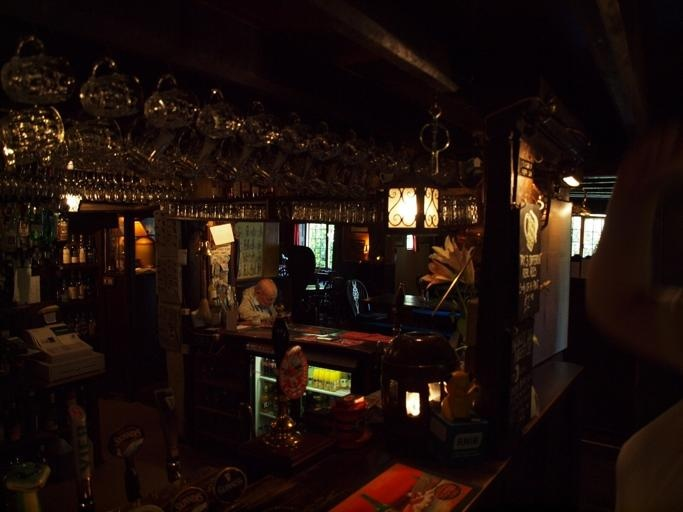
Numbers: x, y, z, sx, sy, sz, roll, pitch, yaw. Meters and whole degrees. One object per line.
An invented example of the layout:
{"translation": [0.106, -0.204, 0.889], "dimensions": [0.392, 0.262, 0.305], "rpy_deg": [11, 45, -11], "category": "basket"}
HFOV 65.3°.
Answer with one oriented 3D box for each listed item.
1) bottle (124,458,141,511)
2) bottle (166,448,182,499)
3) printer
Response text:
{"translation": [-1.029, 1.102, 2.636], "dimensions": [0.071, 0.296, 0.234], "rpy_deg": [0, 1, -21], "category": "bottle"}
{"translation": [-0.860, 1.072, 2.760], "dimensions": [0.076, 0.223, 0.159], "rpy_deg": [0, 0, -18], "category": "bottle"}
{"translation": [-2.937, 0.953, 5.552], "dimensions": [0.747, 0.307, 0.547], "rpy_deg": [19, 13, 29], "category": "printer"}
